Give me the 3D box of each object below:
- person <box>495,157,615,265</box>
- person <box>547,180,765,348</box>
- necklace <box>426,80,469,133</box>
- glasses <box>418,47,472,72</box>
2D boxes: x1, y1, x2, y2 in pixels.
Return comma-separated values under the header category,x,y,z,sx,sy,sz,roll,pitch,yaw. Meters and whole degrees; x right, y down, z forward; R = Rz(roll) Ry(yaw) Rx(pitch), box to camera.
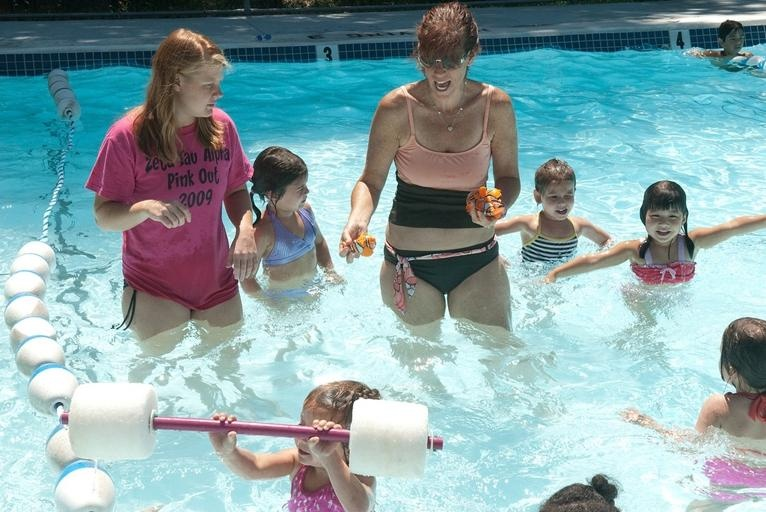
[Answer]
category,x,y,z,sx,sy,sz,roll,pitch,yaw
person,1.616,-0.377,6.029,1.199,1.122,0.308,-3,16,-9
person,2.340,-0.184,5.414,1.809,0.893,0.220,-5,20,-2
necklace,0.429,-0.997,4.249,0.235,0.356,0.203,-1,6,1
glasses,0.399,-1.247,4.110,0.361,0.140,0.138,-2,20,5
